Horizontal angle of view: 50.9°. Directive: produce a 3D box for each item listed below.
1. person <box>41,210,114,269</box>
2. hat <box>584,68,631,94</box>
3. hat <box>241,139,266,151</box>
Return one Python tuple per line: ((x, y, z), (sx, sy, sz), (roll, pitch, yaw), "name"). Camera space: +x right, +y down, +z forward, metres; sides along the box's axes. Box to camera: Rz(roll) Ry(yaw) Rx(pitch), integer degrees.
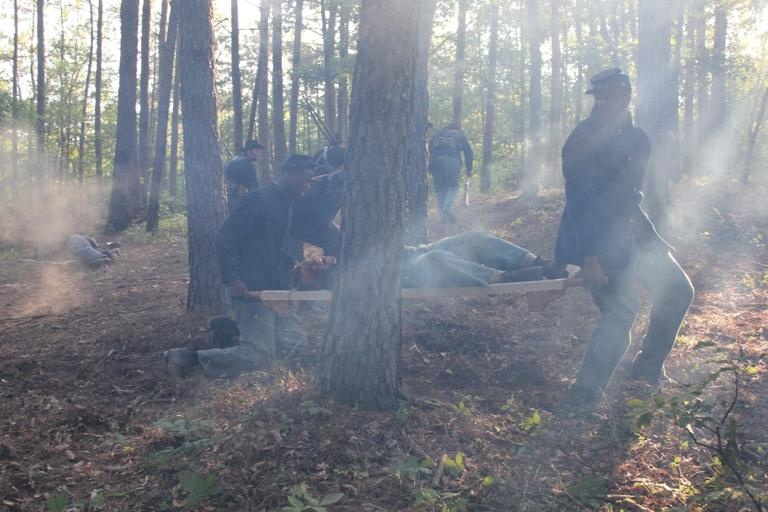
((-8.721, -0.450, 22.968), (1.176, 0.867, 2.702), (-19, 27, -33), "person")
((4.127, -3.183, 14.936), (0.640, 0.312, 0.476), (10, 30, 28), "hat")
((-3.366, -2.851, 20.969), (0.444, 0.175, 0.449), (-1, 5, 8), "hat")
